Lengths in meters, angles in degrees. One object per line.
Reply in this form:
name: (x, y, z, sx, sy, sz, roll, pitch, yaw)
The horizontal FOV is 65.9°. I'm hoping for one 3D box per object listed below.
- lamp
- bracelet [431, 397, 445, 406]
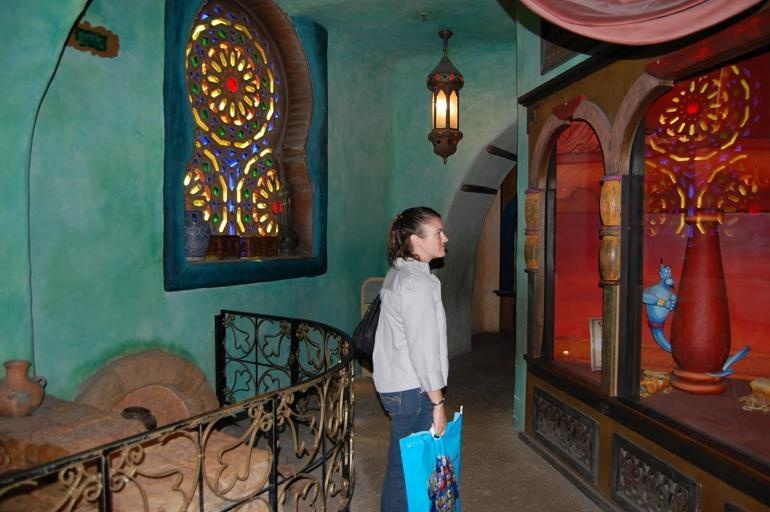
lamp: (0.728, -1.876, 6.946, 0.430, 1.534, 0.421, -1, -2, 21)
bracelet: (0.351, 0.971, 3.962, 0.071, 0.045, 0.042, -4, 0, -2)
